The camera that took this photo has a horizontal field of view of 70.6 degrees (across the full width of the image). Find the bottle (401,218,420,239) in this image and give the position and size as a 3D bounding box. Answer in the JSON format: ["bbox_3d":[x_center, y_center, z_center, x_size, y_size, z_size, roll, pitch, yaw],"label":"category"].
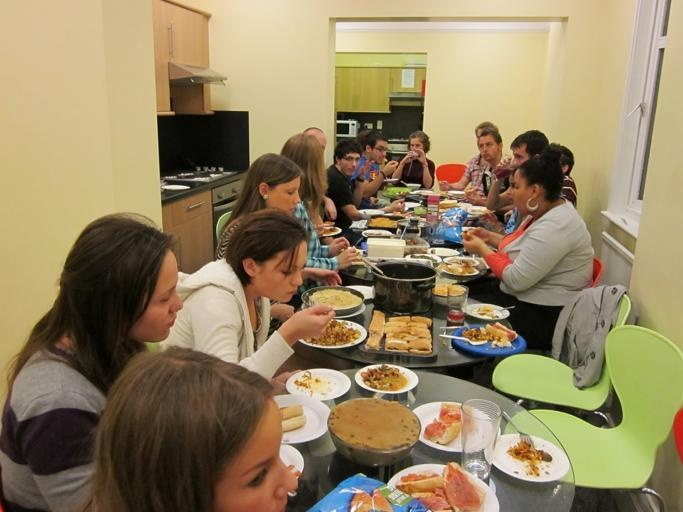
[{"bbox_3d":[0.524,-0.200,3.586,0.105,0.084,0.183,-1,15,-1],"label":"bottle"}]

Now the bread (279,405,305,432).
[{"bbox_3d":[-0.143,0.514,1.515,0.097,0.032,0.101,-6,24,-17],"label":"bread"}]

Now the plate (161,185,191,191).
[{"bbox_3d":[-1.628,-0.676,4.756,0.255,0.017,0.350,-4,20,-16],"label":"plate"}]

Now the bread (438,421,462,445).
[{"bbox_3d":[0.326,0.551,1.491,0.080,0.040,0.026,-33,20,12],"label":"bread"}]

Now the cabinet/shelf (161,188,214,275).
[{"bbox_3d":[-1.296,-0.241,4.066,0.258,0.681,0.735,4,18,9],"label":"cabinet/shelf"}]

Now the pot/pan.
[{"bbox_3d":[0.308,0.164,2.450,0.307,0.197,0.389,-9,15,-35],"label":"pot/pan"}]

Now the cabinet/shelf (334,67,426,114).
[{"bbox_3d":[0.628,-2.892,8.309,1.442,0.716,0.178,7,19,15],"label":"cabinet/shelf"}]

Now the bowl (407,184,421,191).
[{"bbox_3d":[0.906,-0.880,6.152,0.106,0.059,0.145,-5,7,-31],"label":"bowl"}]

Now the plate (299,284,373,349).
[{"bbox_3d":[-0.012,0.290,2.204,0.204,0.045,0.319,-3,23,-8],"label":"plate"}]
